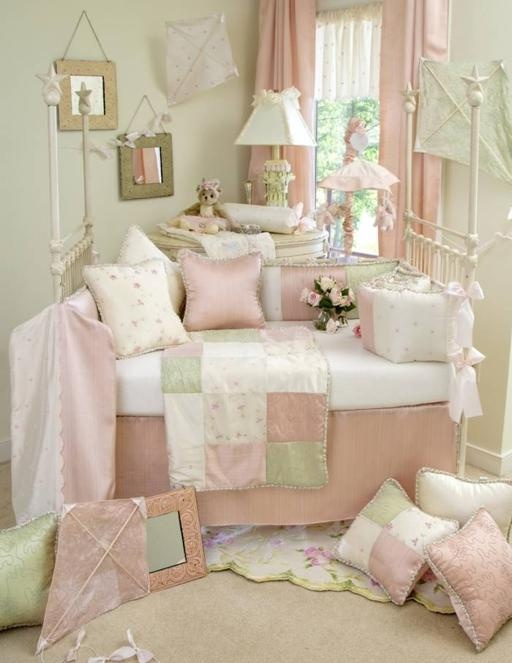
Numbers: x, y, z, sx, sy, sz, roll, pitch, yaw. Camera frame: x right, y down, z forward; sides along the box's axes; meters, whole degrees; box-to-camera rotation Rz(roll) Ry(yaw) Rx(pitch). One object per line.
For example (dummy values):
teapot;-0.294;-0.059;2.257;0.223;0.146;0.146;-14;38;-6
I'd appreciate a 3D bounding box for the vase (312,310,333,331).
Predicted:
vase;0.277;-0.039;2.533;0.080;0.107;0.071;6;20;10

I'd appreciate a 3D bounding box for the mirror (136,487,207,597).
mirror;-0.267;0.672;1.911;0.280;0.276;0.026;-6;-7;-32

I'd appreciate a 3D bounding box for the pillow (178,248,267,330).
pillow;-0.144;-0.162;2.492;0.359;0.332;0.132;0;-4;-20

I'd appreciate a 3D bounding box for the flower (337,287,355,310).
flower;0.381;-0.129;2.536;0.045;0.092;0.090;-10;9;-27

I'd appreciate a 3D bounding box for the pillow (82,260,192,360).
pillow;-0.451;-0.078;2.191;0.106;0.342;0.354;-26;-3;37

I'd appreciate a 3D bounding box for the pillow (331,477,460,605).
pillow;0.421;0.645;1.869;0.089;0.291;0.291;33;7;-30

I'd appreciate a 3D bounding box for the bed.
bed;0.242;-0.012;2.886;1.876;1.852;1.069;0;9;-2

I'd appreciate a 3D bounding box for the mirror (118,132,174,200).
mirror;-0.596;-0.887;3.242;0.362;0.358;0.062;-11;18;-43

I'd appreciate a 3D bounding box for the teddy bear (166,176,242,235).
teddy bear;-0.257;-0.625;3.075;0.299;0.275;0.218;6;14;6

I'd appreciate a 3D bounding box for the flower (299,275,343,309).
flower;0.287;-0.152;2.588;0.147;0.134;0.144;5;50;-1
